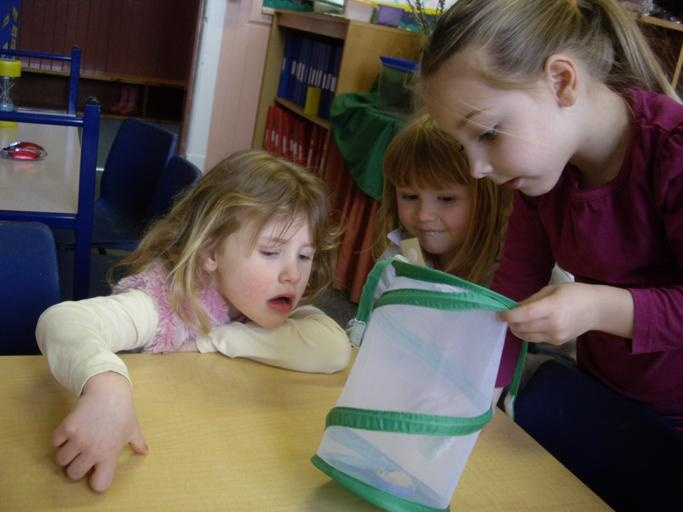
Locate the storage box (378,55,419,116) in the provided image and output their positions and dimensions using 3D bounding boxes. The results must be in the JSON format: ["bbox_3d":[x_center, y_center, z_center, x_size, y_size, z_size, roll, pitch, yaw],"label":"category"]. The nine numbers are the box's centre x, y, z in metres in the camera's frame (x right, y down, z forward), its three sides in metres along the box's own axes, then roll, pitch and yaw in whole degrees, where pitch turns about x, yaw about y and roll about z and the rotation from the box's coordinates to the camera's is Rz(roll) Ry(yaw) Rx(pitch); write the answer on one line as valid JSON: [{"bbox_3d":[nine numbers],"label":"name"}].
[{"bbox_3d":[0.251,-0.747,2.493,0.115,0.235,0.348,4,17,-15],"label":"storage box"}]
